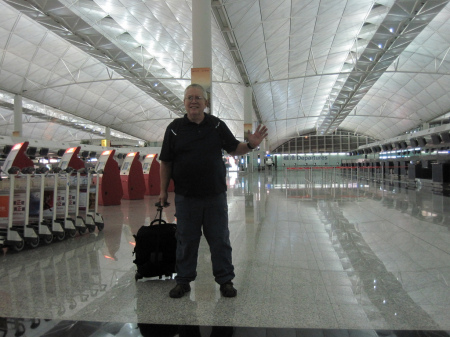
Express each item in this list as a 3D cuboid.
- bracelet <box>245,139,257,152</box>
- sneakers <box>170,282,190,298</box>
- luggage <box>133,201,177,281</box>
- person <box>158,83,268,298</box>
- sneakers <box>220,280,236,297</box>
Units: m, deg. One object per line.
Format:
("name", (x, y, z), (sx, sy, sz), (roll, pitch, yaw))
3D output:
("bracelet", (0.404, -0.371, 4.961), (0.173, 0.070, 0.211), (5, -5, 0))
("sneakers", (-0.695, 1.808, 4.785), (0.308, 0.255, 0.155), (14, -8, -38))
("luggage", (-1.024, 1.188, 5.395), (1.004, 1.135, 0.724), (-6, -1, 16))
("person", (-0.300, 0.285, 4.825), (1.351, 3.129, 0.727), (-3, 6, -10))
("sneakers", (0.050, 1.781, 4.729), (0.142, 0.099, 0.267), (-1, 1, 1))
